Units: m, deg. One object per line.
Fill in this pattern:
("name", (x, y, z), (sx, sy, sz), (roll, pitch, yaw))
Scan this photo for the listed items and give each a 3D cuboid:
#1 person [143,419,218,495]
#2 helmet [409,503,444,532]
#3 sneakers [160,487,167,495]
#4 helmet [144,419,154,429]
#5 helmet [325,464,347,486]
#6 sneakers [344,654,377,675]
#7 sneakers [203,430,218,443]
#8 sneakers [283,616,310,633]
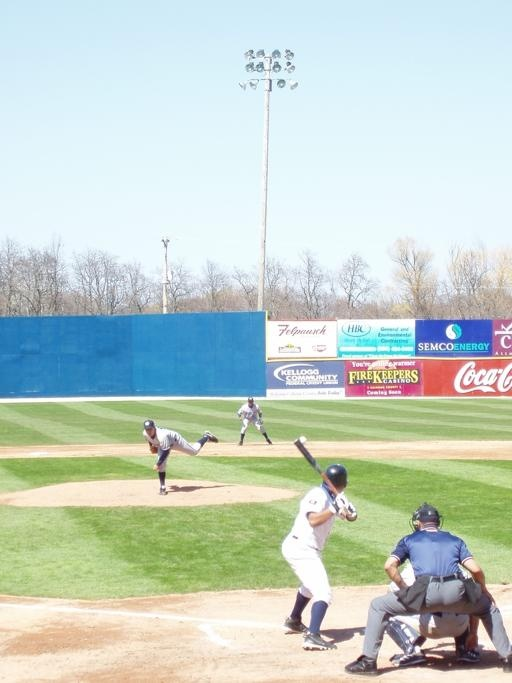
("person", (-1.521, 2.055, 23.138), (0.772, 1.314, 2.488), (-2, -2, 2))
("helmet", (1.723, 1.826, 13.181), (0.258, 0.323, 0.325), (1, -14, -3))
("sneakers", (-1.633, 2.639, 22.733), (0.127, 0.130, 0.330), (-2, -2, -4))
("helmet", (-1.834, 1.416, 22.030), (0.128, 0.115, 0.203), (-2, 1, 6))
("helmet", (0.852, 1.450, 13.822), (0.169, 0.249, 0.240), (-7, -24, 1))
("sneakers", (1.052, 3.265, 13.021), (0.360, 0.274, 0.144), (2, -3, 9))
("sneakers", (-0.896, 1.864, 24.989), (0.173, 0.169, 0.428), (-25, -32, 5))
("sneakers", (0.428, 3.167, 14.365), (0.307, 0.164, 0.120), (4, 4, 3))
